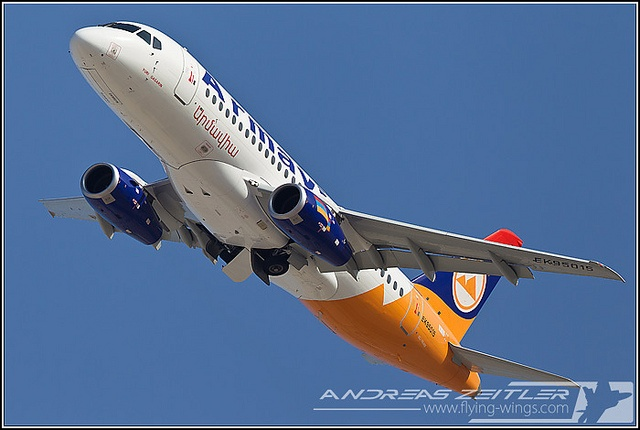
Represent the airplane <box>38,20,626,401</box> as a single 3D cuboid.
[{"bbox_3d":[-0.897,0.197,26.819,10.285,4.482,11.859,-19,-50,43],"label":"airplane"}]
